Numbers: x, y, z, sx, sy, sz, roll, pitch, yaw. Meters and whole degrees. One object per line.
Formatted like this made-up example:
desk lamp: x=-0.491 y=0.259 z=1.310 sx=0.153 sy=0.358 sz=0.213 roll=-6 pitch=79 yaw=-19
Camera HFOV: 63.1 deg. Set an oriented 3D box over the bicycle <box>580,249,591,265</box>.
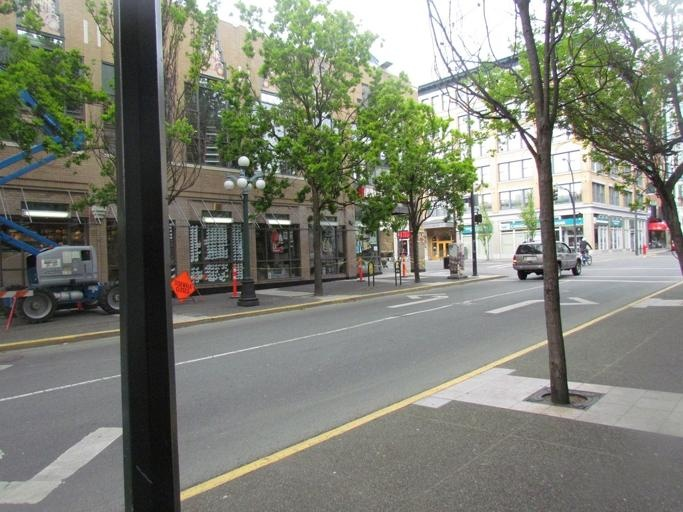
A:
bicycle: x=16.501 y=0.099 z=37.699 sx=0.831 sy=1.197 sz=1.765 roll=0 pitch=8 yaw=31
